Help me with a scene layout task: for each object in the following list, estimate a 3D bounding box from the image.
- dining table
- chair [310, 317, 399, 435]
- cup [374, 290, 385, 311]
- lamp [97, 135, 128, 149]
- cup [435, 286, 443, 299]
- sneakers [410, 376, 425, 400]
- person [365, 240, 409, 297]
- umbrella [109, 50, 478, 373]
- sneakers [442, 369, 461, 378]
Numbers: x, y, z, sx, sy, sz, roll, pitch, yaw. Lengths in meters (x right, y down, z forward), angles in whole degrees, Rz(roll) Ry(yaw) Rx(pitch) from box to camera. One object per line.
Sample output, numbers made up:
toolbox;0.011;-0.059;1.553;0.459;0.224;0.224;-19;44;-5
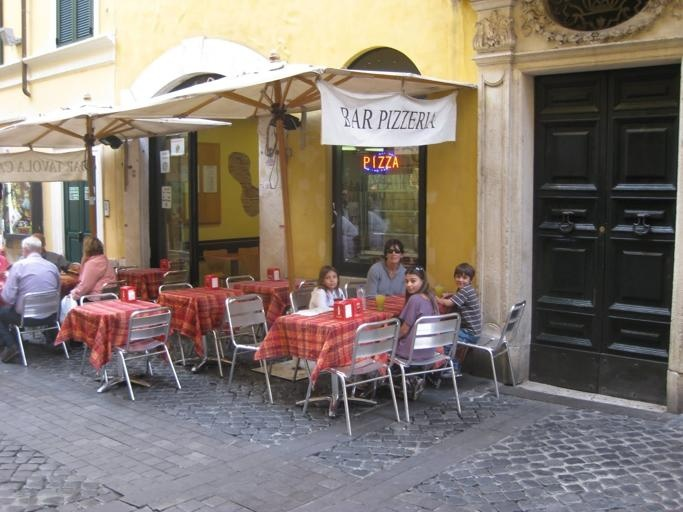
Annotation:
dining table;-0.079;0.974;6.886;0.968;0.381;1.603;7;8;41
chair;0.222;1.151;6.778;0.761;1.093;1.212;0;10;5
cup;0.434;0.536;7.505;0.153;0.235;0.149;0;7;0
lamp;-4.265;-2.149;12.007;0.408;0.162;0.314;8;-11;33
cup;1.163;0.447;7.830;0.117;0.129;0.116;0;6;0
sneakers;0.830;1.492;7.255;0.243;0.236;0.186;4;-8;-6
person;0.591;0.160;8.311;0.641;0.932;0.661;2;4;-10
umbrella;-0.651;-0.906;8.612;3.933;2.608;3.471;-7;6;-31
sneakers;1.275;1.397;7.620;0.117;0.059;0.167;0;-1;3
